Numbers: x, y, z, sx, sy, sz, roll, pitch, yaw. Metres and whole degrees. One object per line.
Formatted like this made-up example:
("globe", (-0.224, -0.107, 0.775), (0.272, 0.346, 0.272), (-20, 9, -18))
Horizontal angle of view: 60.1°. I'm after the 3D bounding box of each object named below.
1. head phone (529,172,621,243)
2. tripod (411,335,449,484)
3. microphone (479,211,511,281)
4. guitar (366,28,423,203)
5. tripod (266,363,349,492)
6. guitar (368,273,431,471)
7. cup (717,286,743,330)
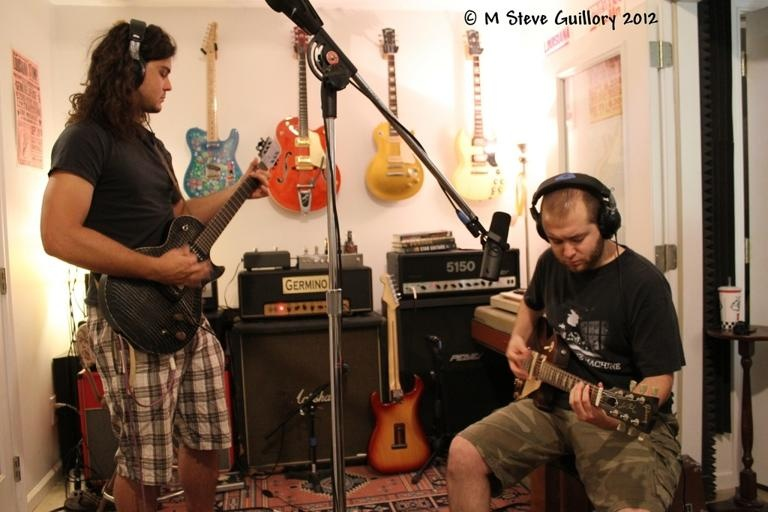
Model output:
("head phone", (0.959, -0.234, 3.263), (0.426, 0.376, 0.174), (-8, 11, 31))
("tripod", (0.328, 1.008, 4.490), (0.315, 0.813, 0.123), (0, -14, -6))
("microphone", (0.505, -0.038, 3.019), (0.133, 0.316, 0.156), (-2, 1, 8))
("guitar", (0.064, -1.022, 4.866), (0.442, 1.259, 0.170), (-2, 1, -1))
("tripod", (-0.528, 1.089, 4.255), (0.549, 0.694, 0.386), (-4, -13, 17))
("guitar", (0.078, 0.772, 4.344), (0.392, 1.278, 0.200), (-2, 1, 1))
("cup", (1.986, 0.300, 3.824), (0.115, 0.245, 0.182), (-2, 1, 26))
